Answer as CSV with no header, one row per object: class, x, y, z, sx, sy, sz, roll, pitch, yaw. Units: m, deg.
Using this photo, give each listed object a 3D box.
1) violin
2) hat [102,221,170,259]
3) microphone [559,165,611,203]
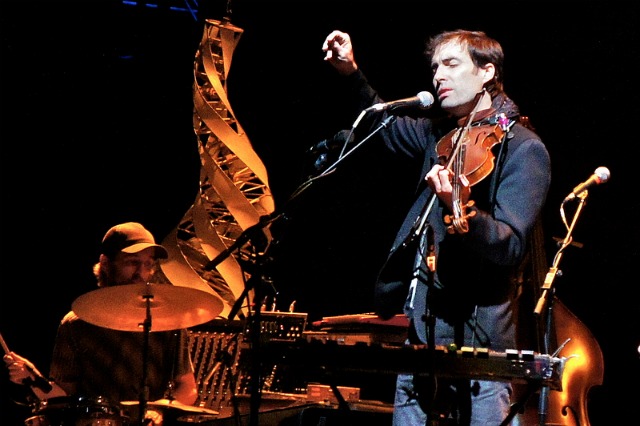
violin,1.119,-0.303,5.903,0.504,0.967,0.424,3,-11,6
hat,-1.798,0.294,7.547,0.493,0.242,0.361,-12,-14,28
microphone,2.565,-0.267,7.631,0.119,0.404,0.122,44,-4,45
